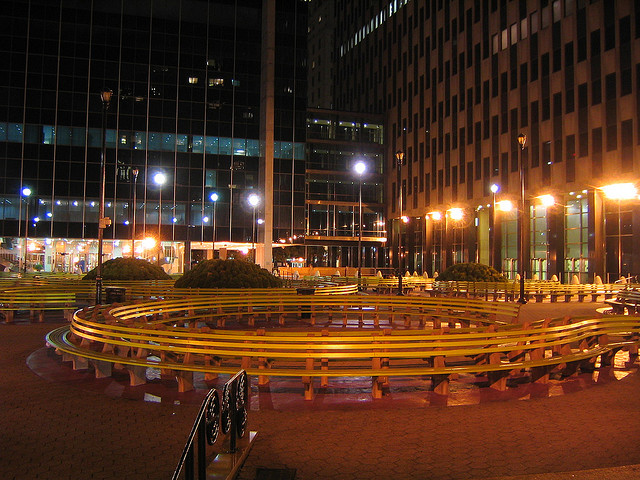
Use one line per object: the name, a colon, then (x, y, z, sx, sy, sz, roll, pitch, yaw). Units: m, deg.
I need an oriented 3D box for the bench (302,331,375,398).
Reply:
bench: (0.468, 3.012, 16.148, 1.849, 1.538, 4.659, 0, -4, 0)

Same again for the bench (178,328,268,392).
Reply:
bench: (-2.281, 2.871, 14.777, 2.057, 1.563, 1.047, 3, 0, -1)

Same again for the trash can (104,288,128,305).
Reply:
trash can: (-9.145, 2.442, 27.960, 1.295, 0.653, 0.528, -3, -4, 41)

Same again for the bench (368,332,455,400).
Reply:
bench: (2.188, 2.893, 14.698, 2.216, 1.656, 1.385, -3, -12, 7)

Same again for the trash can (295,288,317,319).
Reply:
trash can: (-0.588, 2.857, 28.722, 1.026, 1.694, 1.085, 0, 0, -22)
